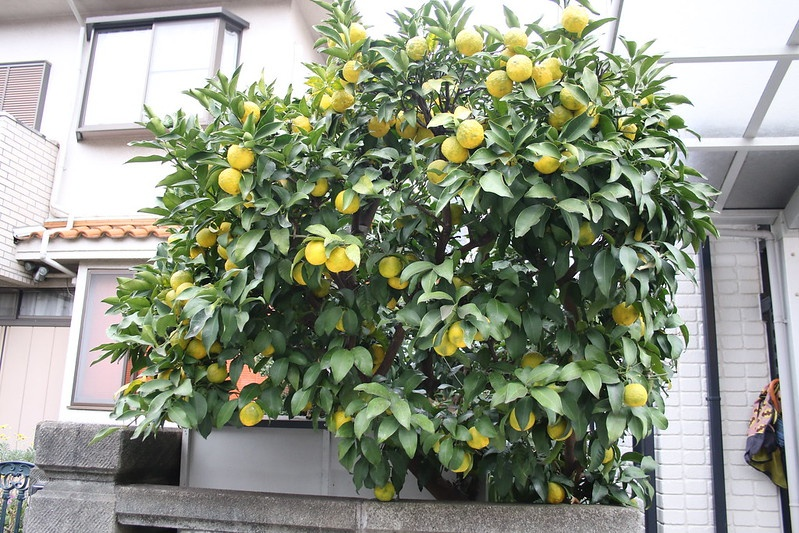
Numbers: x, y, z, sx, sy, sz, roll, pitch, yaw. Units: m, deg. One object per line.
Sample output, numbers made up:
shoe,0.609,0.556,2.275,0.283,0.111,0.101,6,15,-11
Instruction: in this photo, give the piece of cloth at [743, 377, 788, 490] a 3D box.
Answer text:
piece of cloth,2.989,1.354,4.613,0.386,0.872,0.237,6,-15,-16

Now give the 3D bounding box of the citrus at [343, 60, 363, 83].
citrus,-0.222,-0.921,2.695,0.103,0.108,0.099,2,12,6

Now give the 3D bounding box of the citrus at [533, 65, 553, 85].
citrus,0.637,-0.843,2.521,0.086,0.096,0.043,-1,-14,9

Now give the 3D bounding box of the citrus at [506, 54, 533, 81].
citrus,0.534,-0.867,2.505,0.116,0.108,0.094,-1,-14,11

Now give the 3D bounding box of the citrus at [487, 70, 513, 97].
citrus,0.450,-0.812,2.595,0.119,0.125,0.113,9,-4,-3

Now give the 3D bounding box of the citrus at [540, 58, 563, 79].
citrus,0.700,-0.883,2.595,0.100,0.109,0.098,-5,4,15

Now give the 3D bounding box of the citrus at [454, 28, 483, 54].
citrus,0.328,-1.036,2.647,0.125,0.113,0.120,0,-13,6

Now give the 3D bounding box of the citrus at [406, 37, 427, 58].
citrus,0.085,-1.021,2.666,0.100,0.089,0.061,0,-14,4
